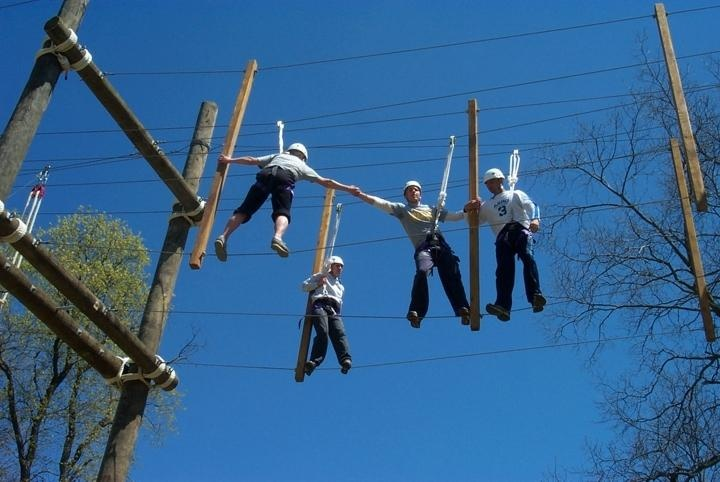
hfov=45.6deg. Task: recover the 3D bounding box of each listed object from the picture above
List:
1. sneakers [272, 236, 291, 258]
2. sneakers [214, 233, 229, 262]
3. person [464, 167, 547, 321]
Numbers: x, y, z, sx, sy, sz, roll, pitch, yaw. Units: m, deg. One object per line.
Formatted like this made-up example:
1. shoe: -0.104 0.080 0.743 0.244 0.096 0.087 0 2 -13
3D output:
1. sneakers: -1.209 0.103 13.064 0.340 0.144 0.151 44 -42 -18
2. sneakers: -2.071 0.122 12.873 0.182 0.192 0.458 -7 -76 2
3. person: 2.808 0.002 15.823 1.066 2.882 0.945 -9 -41 13
